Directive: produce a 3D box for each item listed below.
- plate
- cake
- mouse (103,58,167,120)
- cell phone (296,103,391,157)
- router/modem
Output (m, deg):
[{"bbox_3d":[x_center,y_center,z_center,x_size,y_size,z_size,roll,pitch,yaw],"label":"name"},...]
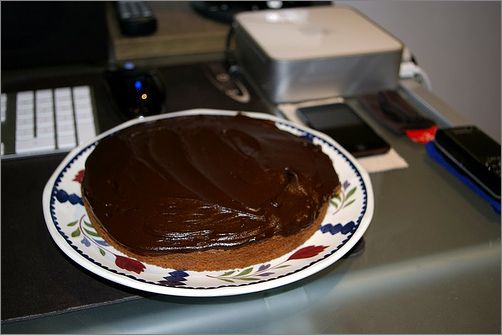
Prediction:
[{"bbox_3d":[-0.095,0.046,0.961,0.757,0.064,0.539,-9,57,-10],"label":"plate"},{"bbox_3d":[-0.100,0.034,1.031,0.614,0.150,0.494,0,40,-3],"label":"cake"},{"bbox_3d":[-0.340,-0.241,1.318,0.237,0.144,0.196,-15,36,-30],"label":"mouse"},{"bbox_3d":[0.270,-0.157,1.163,0.153,0.021,0.211,-14,44,-22],"label":"cell phone"},{"bbox_3d":[0.215,-0.407,1.353,0.495,0.138,0.399,-13,58,-13],"label":"router/modem"}]
